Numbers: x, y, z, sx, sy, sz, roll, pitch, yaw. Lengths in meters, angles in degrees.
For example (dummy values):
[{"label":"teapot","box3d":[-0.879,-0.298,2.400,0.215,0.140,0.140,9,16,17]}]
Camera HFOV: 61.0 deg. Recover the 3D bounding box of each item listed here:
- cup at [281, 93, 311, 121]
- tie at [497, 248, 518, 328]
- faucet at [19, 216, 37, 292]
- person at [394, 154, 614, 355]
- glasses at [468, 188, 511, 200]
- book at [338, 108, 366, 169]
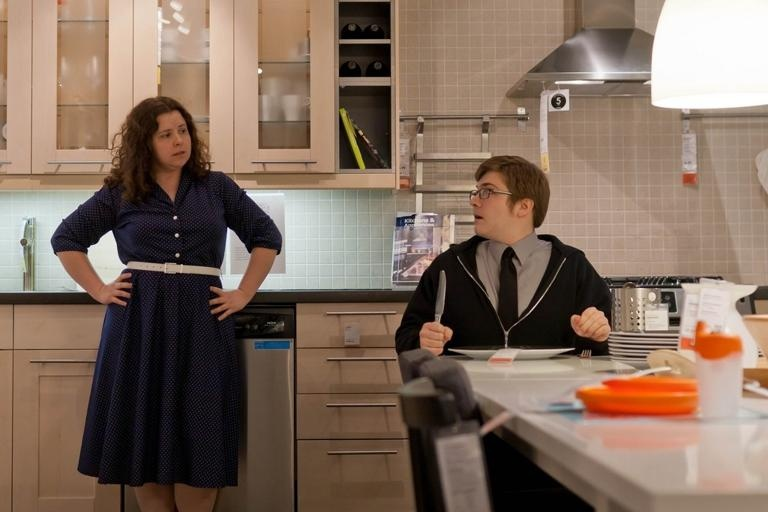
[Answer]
[{"label":"cup","box3d":[-0.470,-0.751,3.436,0.170,0.111,0.105,1,-4,-32]},{"label":"tie","box3d":[0.469,0.122,2.477,0.075,0.289,0.143,1,3,11]},{"label":"faucet","box3d":[-2.040,-0.005,3.693,0.086,0.395,0.094,0,2,-9]},{"label":"person","box3d":[0.519,-0.016,2.510,0.674,0.719,0.421,1,3,16]},{"label":"glasses","box3d":[0.422,-0.230,2.568,0.085,0.023,0.079,3,-4,-18]},{"label":"book","box3d":[-0.183,-0.599,3.521,0.078,0.363,0.100,-22,6,-13]}]
